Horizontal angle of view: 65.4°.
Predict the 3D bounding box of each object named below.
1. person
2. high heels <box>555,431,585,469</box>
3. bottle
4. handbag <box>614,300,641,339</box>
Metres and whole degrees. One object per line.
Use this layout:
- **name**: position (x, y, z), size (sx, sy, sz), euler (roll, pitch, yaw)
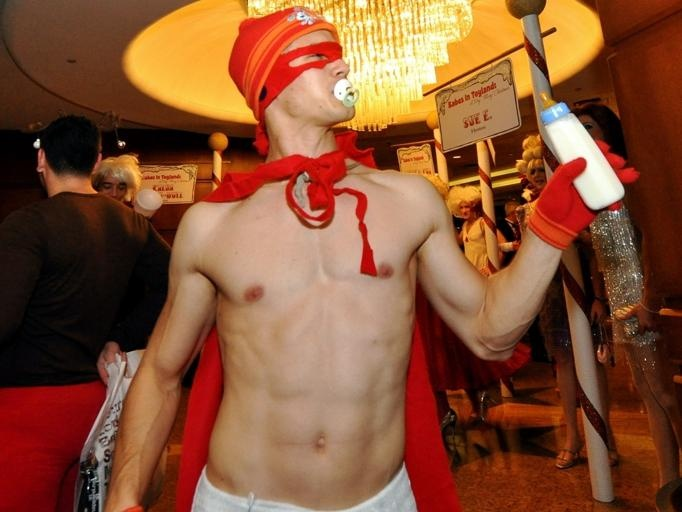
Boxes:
- **person**: position (-0.037, -0.003, 1.431), size (1.193, 1.123, 0.353), euler (-4, -1, 6)
- **high heels**: position (1.406, 1.246, 3.297), size (0.099, 0.168, 0.281), euler (-19, -20, 35)
- **bottle**: position (0.546, -0.241, 1.217), size (0.171, 0.285, 0.078), euler (-4, -1, 10)
- **handbag**: position (1.401, 0.324, 2.618), size (0.153, 0.166, 0.047), euler (7, 19, 39)
